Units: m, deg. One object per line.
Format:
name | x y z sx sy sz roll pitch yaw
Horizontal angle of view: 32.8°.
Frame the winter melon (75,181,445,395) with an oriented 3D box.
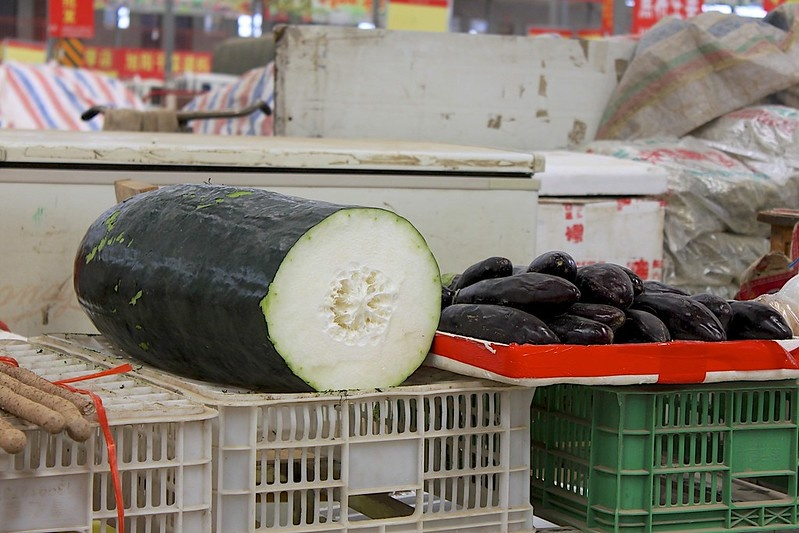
winter melon | -0.403 0.039 3.876 1.007 0.425 0.484 6 10 37
